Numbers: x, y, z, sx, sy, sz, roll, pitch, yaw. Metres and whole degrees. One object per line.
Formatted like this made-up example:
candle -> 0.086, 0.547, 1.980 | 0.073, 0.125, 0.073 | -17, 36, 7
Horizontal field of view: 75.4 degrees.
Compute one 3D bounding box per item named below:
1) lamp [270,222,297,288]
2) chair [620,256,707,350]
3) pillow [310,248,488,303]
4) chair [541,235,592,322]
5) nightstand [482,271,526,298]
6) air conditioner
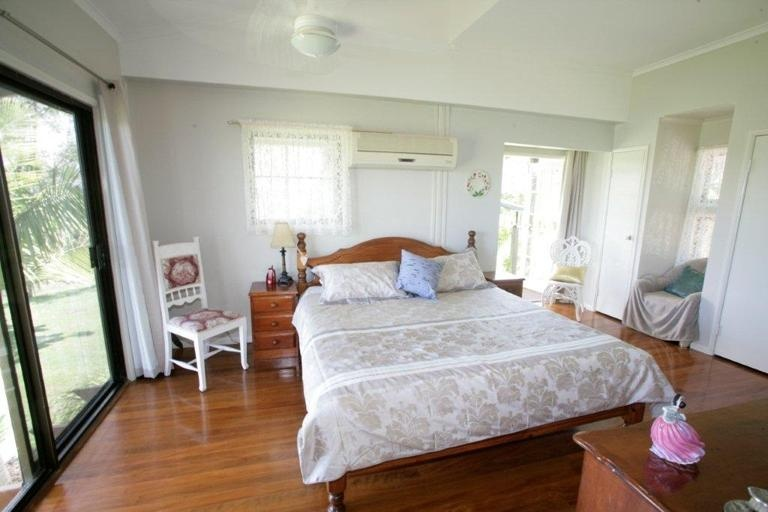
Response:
lamp -> -1.060, -0.032, 5.305 | 0.248, 0.656, 0.342 | -4, 11, -9
chair -> 3.495, 0.523, 5.894 | 0.862, 0.909, 0.748 | -7, 14, -18
pillow -> 0.174, 0.180, 5.241 | 1.750, 0.445, 0.462 | -4, 10, -17
chair -> 2.389, 0.270, 6.551 | 0.603, 0.954, 0.639 | 4, 16, 9
nightstand -> 1.383, 0.302, 5.852 | 0.345, 0.310, 0.336 | -6, 11, -23
air conditioner -> 0.217, -1.155, 5.445 | 1.200, 0.397, 0.164 | -4, 11, -14
